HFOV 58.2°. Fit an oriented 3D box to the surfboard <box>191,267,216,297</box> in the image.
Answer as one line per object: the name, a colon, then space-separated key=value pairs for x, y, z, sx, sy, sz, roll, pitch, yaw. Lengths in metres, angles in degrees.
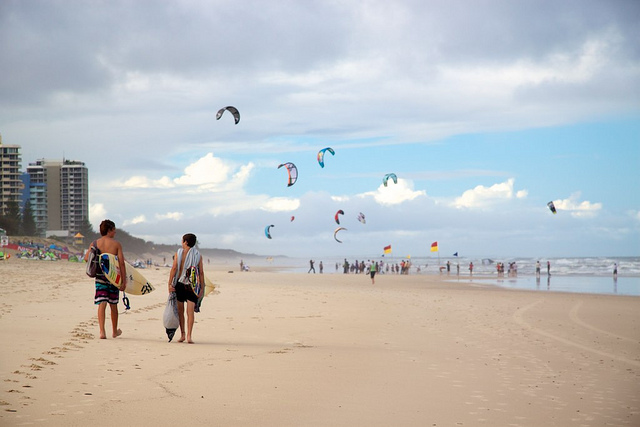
surfboard: x=-2.426 y=1.466 z=11.819 sx=0.663 sy=0.669 sz=0.338 roll=-3 pitch=-5 yaw=26

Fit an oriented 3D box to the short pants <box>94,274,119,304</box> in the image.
short pants: x=-4.138 y=1.456 z=11.148 sx=0.430 sy=0.586 sz=0.299 roll=2 pitch=-2 yaw=-21

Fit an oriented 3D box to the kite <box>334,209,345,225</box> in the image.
kite: x=1.403 y=0.298 z=46.351 sx=0.917 sy=1.245 sz=0.509 roll=5 pitch=1 yaw=34

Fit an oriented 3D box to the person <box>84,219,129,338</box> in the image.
person: x=-4.181 y=1.271 z=11.201 sx=0.741 sy=2.275 sz=0.529 roll=2 pitch=-2 yaw=-23

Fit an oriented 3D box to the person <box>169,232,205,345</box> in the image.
person: x=-2.655 y=1.469 z=11.387 sx=0.647 sy=2.128 sz=1.029 roll=1 pitch=-2 yaw=-2

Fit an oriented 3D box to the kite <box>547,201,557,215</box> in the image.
kite: x=8.317 y=-0.239 z=20.632 sx=0.129 sy=0.493 sz=0.301 roll=-18 pitch=13 yaw=0
